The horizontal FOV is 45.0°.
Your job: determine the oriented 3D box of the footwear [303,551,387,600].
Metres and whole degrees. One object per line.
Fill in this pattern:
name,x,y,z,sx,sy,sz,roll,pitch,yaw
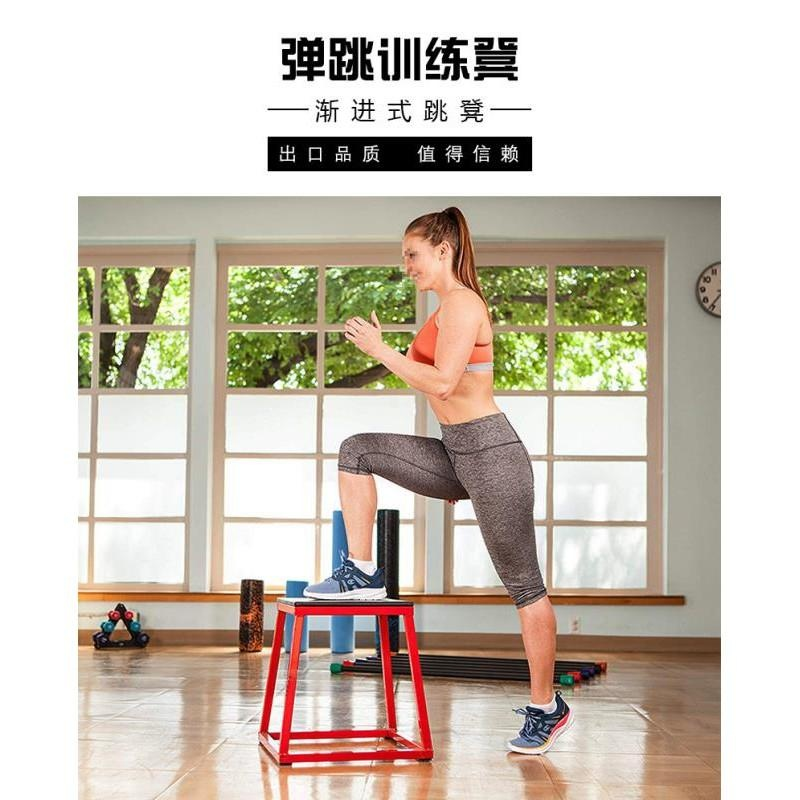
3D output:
footwear,-0.148,0.525,2.809,0.261,0.135,0.099,2,-9,-5

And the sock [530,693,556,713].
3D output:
sock,0.440,0.923,2.937,0.038,0.044,0.104,0,-4,31

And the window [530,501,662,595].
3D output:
window,1.223,0.910,5.827,0.911,0.575,0.023,-1,-3,4

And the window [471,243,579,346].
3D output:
window,0.785,-0.625,5.773,0.880,0.822,0.037,0,-5,-4

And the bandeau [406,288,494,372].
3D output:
bandeau,0.095,-0.214,3.017,0.155,0.139,0.105,34,4,-47

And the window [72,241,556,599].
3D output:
window,-0.440,0.163,5.350,2.280,1.611,0.077,0,1,3

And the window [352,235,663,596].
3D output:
window,0.637,0.149,6.330,2.152,2.476,0.086,0,22,11

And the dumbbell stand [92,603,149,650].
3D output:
dumbbell stand,-1.625,1.321,5.653,0.304,0.254,0.368,-1,-1,-14

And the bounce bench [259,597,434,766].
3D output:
bounce bench,-0.141,0.761,2.907,0.595,0.569,0.480,1,-17,-6
